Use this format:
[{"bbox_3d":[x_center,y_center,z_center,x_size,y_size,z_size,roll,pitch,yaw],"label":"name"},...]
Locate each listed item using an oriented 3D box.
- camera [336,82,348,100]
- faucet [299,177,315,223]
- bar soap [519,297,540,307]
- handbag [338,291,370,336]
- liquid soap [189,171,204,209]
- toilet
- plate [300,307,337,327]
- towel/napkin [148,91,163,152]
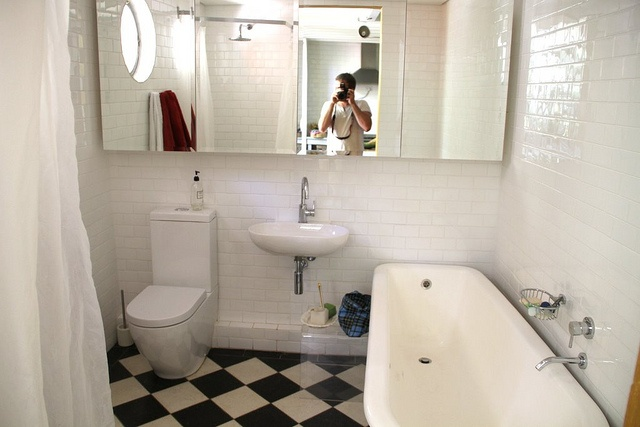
[{"bbox_3d":[0.177,-0.952,3.472,0.083,0.119,0.118,0,38,2],"label":"camera"},{"bbox_3d":[-0.112,-0.115,3.680,0.137,0.390,0.138,-1,17,-1],"label":"faucet"},{"bbox_3d":[1.255,0.526,2.683,0.131,0.036,0.128,2,8,12],"label":"bar soap"},{"bbox_3d":[0.271,0.764,3.415,0.213,0.290,0.098,3,-24,37],"label":"handbag"},{"bbox_3d":[-1.015,-0.200,3.719,0.096,0.316,0.120,0,17,2],"label":"liquid soap"},{"bbox_3d":[-1.149,0.633,3.553,0.510,1.210,0.830,1,17,5],"label":"toilet"},{"bbox_3d":[-0.018,0.777,3.449,0.159,0.055,0.156,-4,11,-27],"label":"plate"},{"bbox_3d":[-1.347,-0.741,3.590,0.080,0.457,0.134,-3,8,-11],"label":"towel/napkin"}]
